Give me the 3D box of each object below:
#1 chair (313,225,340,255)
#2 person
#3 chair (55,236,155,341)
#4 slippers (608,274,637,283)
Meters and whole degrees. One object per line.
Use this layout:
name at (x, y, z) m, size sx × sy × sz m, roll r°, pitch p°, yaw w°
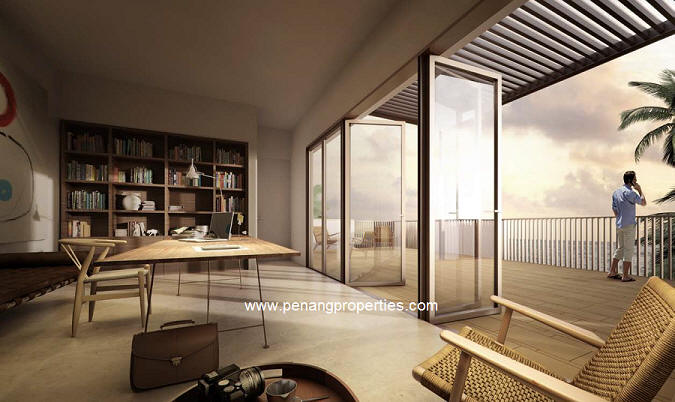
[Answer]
chair at (-0.269, 0.829, 8.769) m, size 0.645 × 0.527 × 0.488 m, roll 2°, pitch -2°, yaw 16°
person at (5.769, 0.499, 7.947) m, size 0.651 × 2.184 × 0.680 m, roll -3°, pitch -2°, yaw 34°
chair at (-3.744, 1.328, 6.516) m, size 1.435 × 1.384 × 1.410 m, roll -3°, pitch -3°, yaw 9°
slippers at (5.736, 1.547, 7.972) m, size 0.412 × 0.103 × 0.141 m, roll -1°, pitch -1°, yaw 3°
